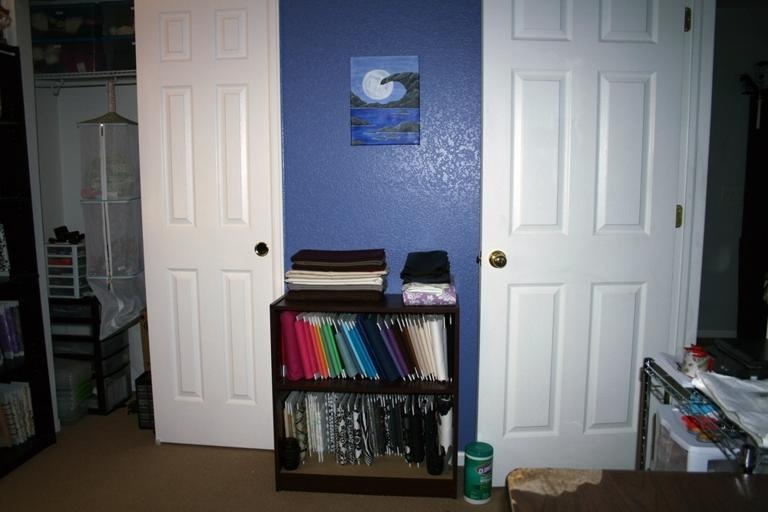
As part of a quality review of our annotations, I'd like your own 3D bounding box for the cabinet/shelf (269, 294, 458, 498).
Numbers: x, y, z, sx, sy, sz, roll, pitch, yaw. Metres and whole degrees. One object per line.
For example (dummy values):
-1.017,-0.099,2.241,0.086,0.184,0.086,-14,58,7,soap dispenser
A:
-0.110,0.840,3.633,1.226,1.145,0.430,1,5,2,cabinet/shelf
